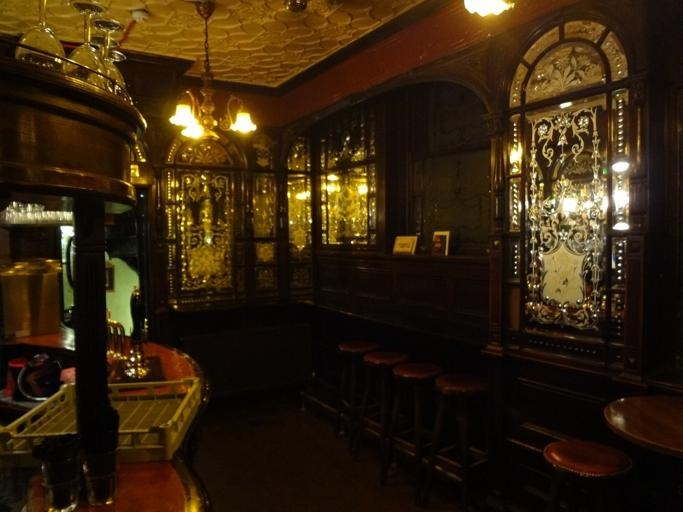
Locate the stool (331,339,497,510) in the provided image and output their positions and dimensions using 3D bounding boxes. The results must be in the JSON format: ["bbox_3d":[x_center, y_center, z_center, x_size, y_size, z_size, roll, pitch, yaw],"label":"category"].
[{"bbox_3d":[0.627,1.402,4.629,0.308,0.686,1.164,-5,7,-26],"label":"stool"}]
